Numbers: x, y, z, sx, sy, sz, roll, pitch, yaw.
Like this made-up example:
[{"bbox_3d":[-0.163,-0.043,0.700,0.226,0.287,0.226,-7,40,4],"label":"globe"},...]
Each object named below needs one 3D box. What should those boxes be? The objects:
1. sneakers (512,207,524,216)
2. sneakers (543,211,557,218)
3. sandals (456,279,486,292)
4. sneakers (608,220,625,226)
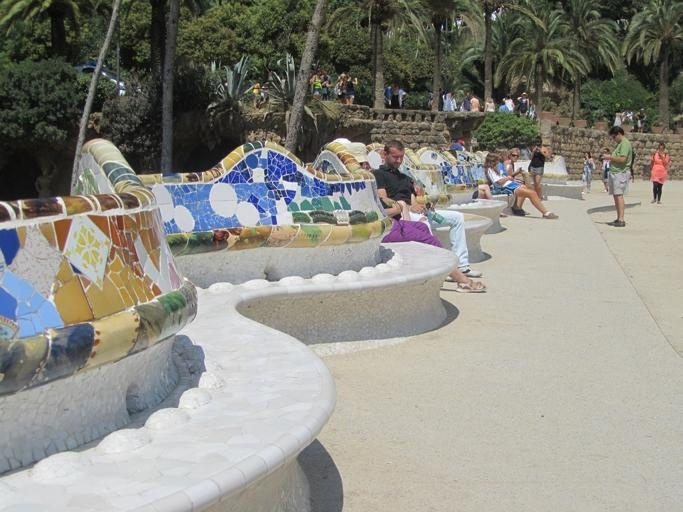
[{"bbox_3d":[4.029,-1.010,14.198,0.344,0.148,0.156,8,-5,12],"label":"sneakers"},{"bbox_3d":[4.450,-0.874,13.279,0.272,0.148,0.145,1,11,7],"label":"sneakers"},{"bbox_3d":[1.418,0.322,6.808,0.234,0.112,0.146,-1,12,5],"label":"sandals"},{"bbox_3d":[5.538,-0.663,12.539,0.282,0.157,0.138,6,9,14],"label":"sneakers"}]
